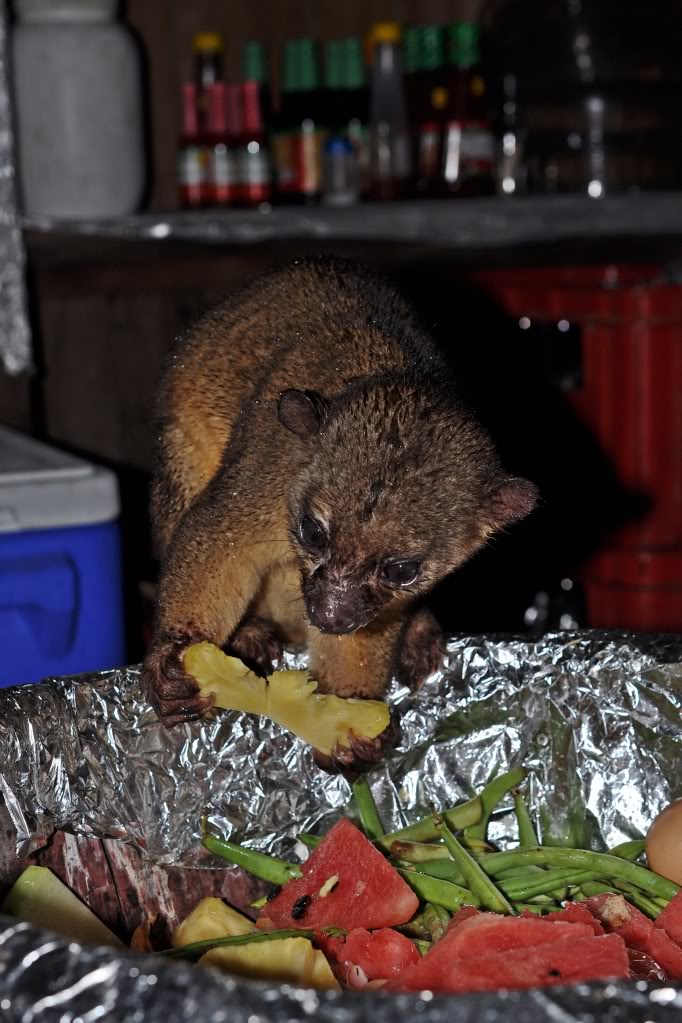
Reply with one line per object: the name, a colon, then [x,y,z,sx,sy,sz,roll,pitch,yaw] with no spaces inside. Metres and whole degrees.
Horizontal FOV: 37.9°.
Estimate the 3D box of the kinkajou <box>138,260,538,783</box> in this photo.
kinkajou: [-0.014,-0.057,1.934,0.722,0.544,1.176,12,24,-13]
